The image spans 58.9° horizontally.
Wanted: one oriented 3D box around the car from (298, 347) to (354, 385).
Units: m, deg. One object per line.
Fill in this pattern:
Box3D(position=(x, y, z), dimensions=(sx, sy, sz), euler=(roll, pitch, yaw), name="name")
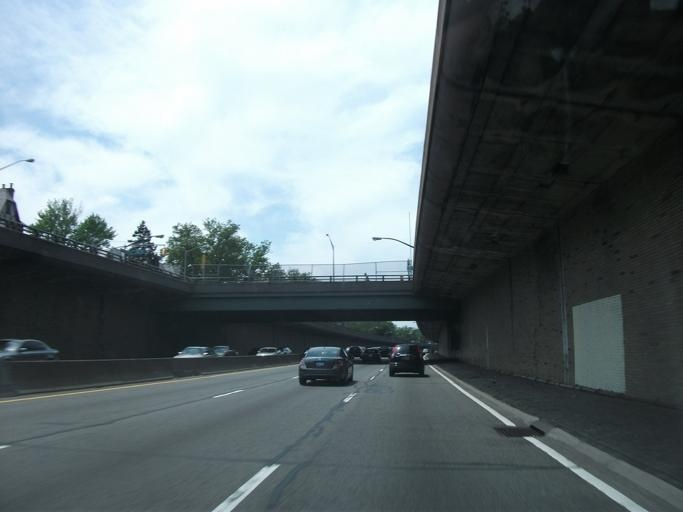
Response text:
Box3D(position=(-0.656, 4.302, 24.120), dimensions=(1.958, 1.528, 1.155), euler=(5, -17, -13), name="car")
